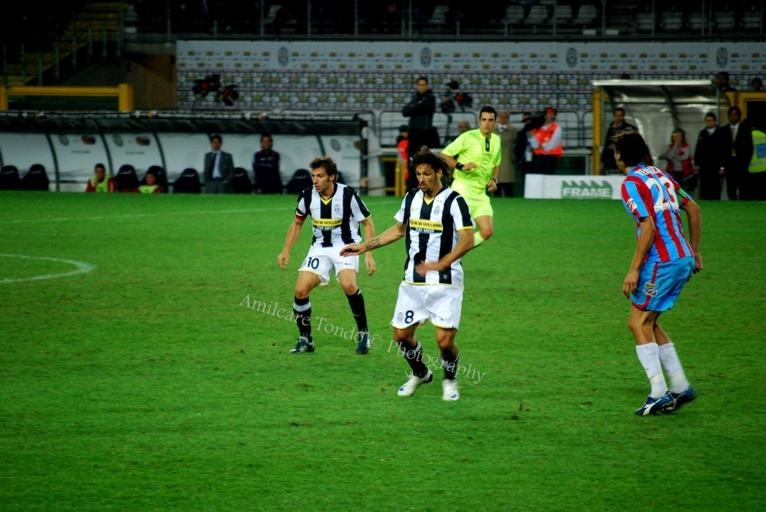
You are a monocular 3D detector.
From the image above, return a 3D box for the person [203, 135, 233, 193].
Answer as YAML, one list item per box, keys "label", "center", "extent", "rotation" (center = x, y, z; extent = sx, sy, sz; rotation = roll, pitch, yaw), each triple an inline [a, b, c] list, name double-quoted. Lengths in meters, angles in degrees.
- label: "person"
  center: [-4.333, -2.402, 28.312]
  extent: [0.784, 1.544, 2.160]
  rotation: [-4, 9, -10]

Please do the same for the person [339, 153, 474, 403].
- label: "person"
  center: [0.502, 0.206, 12.337]
  extent: [1.037, 2.813, 0.615]
  rotation: [-1, 9, 6]

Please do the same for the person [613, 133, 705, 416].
- label: "person"
  center: [3.039, 0.173, 12.045]
  extent: [0.847, 3.107, 0.759]
  rotation: [-1, 9, 11]

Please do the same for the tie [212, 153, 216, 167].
- label: "tie"
  center: [-4.390, -2.525, 28.085]
  extent: [0.176, 0.325, 0.079]
  rotation: [7, 11, 18]

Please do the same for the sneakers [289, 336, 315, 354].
- label: "sneakers"
  center: [-0.993, 1.081, 13.381]
  extent: [0.378, 0.198, 0.232]
  rotation: [-6, 9, -23]

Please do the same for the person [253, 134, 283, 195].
- label: "person"
  center: [-3.083, -2.456, 28.769]
  extent: [0.766, 1.637, 1.083]
  rotation: [-3, 9, -7]

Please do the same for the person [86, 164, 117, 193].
- label: "person"
  center: [-7.684, -2.155, 29.684]
  extent: [0.830, 0.761, 0.451]
  rotation: [1, -1, 6]
